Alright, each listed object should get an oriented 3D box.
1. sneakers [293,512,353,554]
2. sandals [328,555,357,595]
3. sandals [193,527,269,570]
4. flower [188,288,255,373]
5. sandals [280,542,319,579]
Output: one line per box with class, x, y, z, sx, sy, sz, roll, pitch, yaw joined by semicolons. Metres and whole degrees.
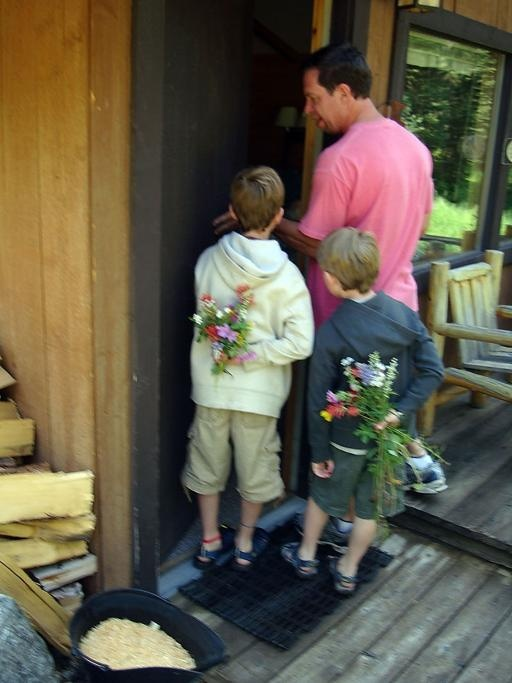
sneakers;0.270;0.752;2.471;0.293;0.126;0.100;20;55;10
sandals;0.316;0.862;2.243;0.056;0.052;0.138;-3;46;-4
sandals;-0.084;0.815;2.382;0.151;0.060;0.199;8;23;18
flower;-0.115;-0.031;2.004;0.234;0.314;0.146;6;13;13
sandals;0.163;0.834;2.320;0.079;0.052;0.148;-20;46;-21
